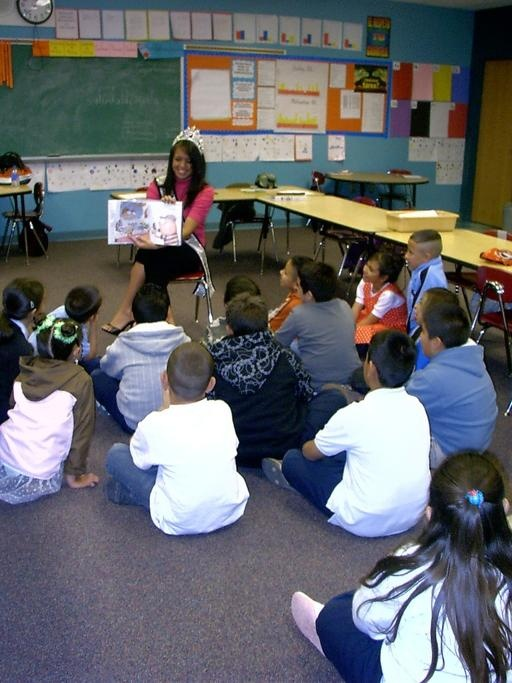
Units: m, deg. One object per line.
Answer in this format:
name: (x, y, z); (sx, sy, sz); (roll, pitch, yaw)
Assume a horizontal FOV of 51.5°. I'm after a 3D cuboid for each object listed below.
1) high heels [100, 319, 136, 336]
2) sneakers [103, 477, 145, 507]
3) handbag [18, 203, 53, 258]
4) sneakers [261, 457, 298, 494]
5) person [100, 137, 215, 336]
high heels: (-0.870, -0.091, 3.352); (0.214, 0.065, 0.099); (-5, 18, -19)
sneakers: (-0.478, 0.561, 1.930); (0.138, 0.049, 0.115); (0, 5, -41)
handbag: (-2.452, -1.181, 5.817); (0.310, 0.516, 0.364); (-3, 27, -3)
sneakers: (0.076, 0.532, 2.139); (0.184, 0.072, 0.068); (34, 48, 2)
person: (-0.635, -0.721, 3.542); (0.508, 1.381, 0.679); (10, 16, 30)
